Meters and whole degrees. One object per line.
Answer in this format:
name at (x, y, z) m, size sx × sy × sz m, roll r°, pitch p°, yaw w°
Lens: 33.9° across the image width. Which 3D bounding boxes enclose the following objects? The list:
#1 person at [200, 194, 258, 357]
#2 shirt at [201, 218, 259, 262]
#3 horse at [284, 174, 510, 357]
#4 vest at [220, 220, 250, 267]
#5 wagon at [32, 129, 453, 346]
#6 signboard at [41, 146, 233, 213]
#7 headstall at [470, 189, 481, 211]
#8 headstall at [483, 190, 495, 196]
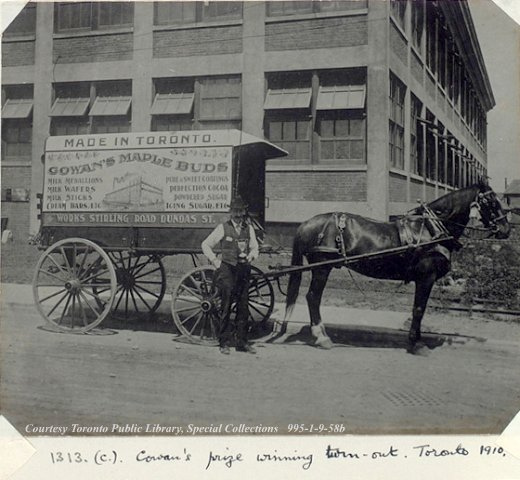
person at (-0.451, 0.507, 13.035) m, size 0.920 × 2.409 × 0.927 m, roll 4°, pitch 4°, yaw -2°
shirt at (-0.482, 0.005, 12.861) m, size 0.594 × 0.503 × 0.205 m, roll 1°, pitch -2°, yaw -21°
horse at (2.137, 0.303, 13.098) m, size 3.153 × 2.782 × 0.749 m, roll 6°, pitch 4°, yaw 13°
vest at (-0.369, 0.056, 12.800) m, size 0.415 × 0.653 × 0.255 m, roll 4°, pitch 4°, yaw -1°
wagon at (-0.562, 0.067, 13.865) m, size 6.022 × 3.280 × 1.960 m, roll 0°, pitch -2°, yaw 10°
signboard at (-1.938, -0.943, 13.426) m, size 3.079 × 1.299 × 0.105 m, roll 6°, pitch 4°, yaw 13°
headstall at (3.288, -0.611, 13.021) m, size 0.162 × 0.327 × 0.050 m, roll 3°, pitch 4°, yaw -15°
headstall at (3.457, -0.709, 13.001) m, size 0.061 × 0.028 × 0.088 m, roll -10°, pitch -16°, yaw 19°
